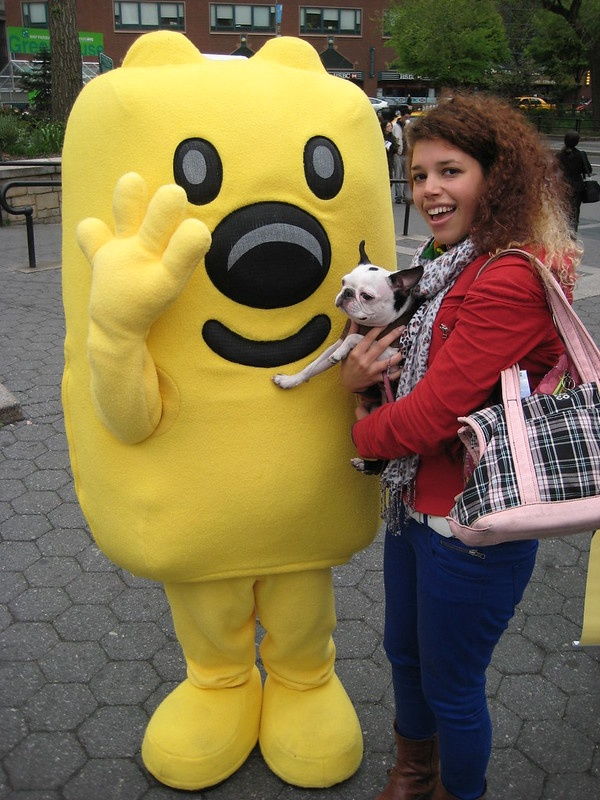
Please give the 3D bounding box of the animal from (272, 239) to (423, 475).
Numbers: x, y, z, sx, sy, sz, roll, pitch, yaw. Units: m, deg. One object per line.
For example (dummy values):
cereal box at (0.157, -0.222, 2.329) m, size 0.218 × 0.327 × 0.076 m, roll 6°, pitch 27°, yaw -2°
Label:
animal at (0.168, -0.126, 1.781) m, size 0.380 × 0.476 × 0.190 m, roll 3°, pitch 29°, yaw -28°

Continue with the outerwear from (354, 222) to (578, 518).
outerwear at (0.416, -0.046, 1.615) m, size 0.480 × 0.573 × 0.220 m, roll 10°, pitch -1°, yaw 39°

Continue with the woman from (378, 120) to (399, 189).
woman at (1.677, -4.356, 12.839) m, size 0.361 × 1.114 × 0.313 m, roll -25°, pitch 47°, yaw -4°
